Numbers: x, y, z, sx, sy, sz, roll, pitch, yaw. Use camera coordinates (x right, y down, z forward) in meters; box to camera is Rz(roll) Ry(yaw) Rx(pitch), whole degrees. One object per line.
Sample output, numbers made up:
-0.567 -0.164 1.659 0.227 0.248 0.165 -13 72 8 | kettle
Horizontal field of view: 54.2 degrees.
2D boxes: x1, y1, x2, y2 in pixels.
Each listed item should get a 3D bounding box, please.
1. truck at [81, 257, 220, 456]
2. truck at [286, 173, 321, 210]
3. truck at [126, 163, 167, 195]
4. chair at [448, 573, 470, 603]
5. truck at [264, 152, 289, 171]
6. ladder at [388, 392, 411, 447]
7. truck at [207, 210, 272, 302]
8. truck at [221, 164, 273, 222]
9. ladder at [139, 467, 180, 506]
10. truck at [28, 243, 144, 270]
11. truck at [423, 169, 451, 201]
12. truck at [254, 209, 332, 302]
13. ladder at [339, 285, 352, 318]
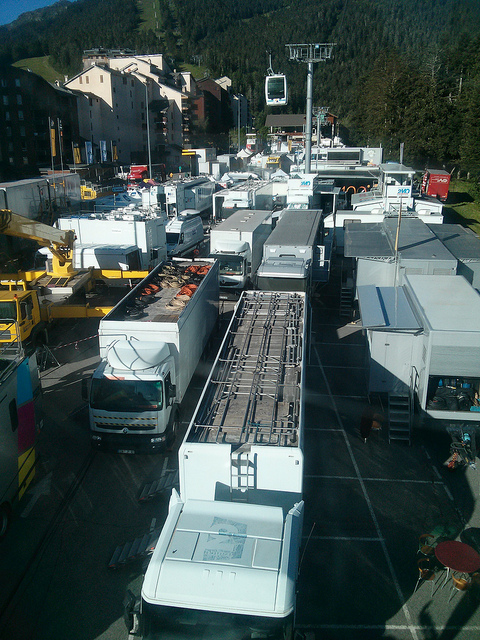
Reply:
-2.451 0.273 13.131 2.237 2.833 7.019 4 28 8 | truck
4.305 -8.620 32.713 2.059 2.622 6.111 -1 23 8 | truck
-13.056 -20.449 65.700 5.199 2.386 24.757 -7 23 -7 | truck
3.440 4.193 7.454 0.315 0.420 0.309 2 1 15 | chair
5.145 -23.721 71.415 2.171 2.061 5.442 4 24 21 | truck
4.055 2.597 12.031 0.350 0.426 1.194 3 35 14 | ladder
0.139 -3.470 23.810 1.839 2.827 7.101 4 19 12 | truck
0.542 -9.027 35.278 1.805 3.558 9.552 2 21 11 | truck
-1.698 3.507 9.840 0.879 0.200 0.991 -24 8 -6 | ladder
-6.803 -3.083 22.082 3.384 1.647 2.365 2 15 1 | truck
19.798 -13.727 46.619 2.400 3.420 4.671 9 27 15 | truck
2.364 -2.632 20.728 2.103 1.837 7.600 3 31 13 | truck
4.848 -0.809 21.662 0.361 1.186 1.192 2 20 12 | ladder
